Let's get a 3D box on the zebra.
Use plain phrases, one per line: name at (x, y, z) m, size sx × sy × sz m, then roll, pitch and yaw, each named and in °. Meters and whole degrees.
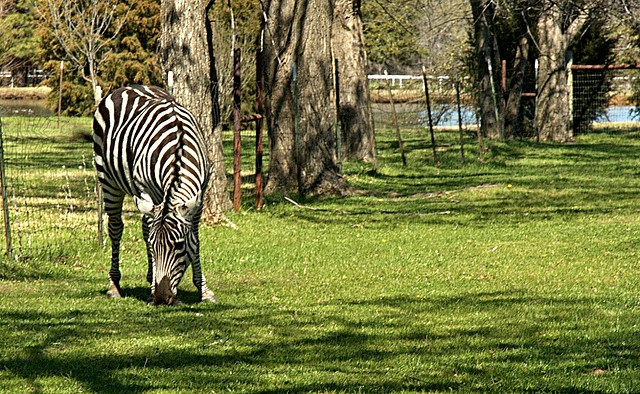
zebra at (-5.426, -0.146, 39.830) m, size 3.534 × 6.980 × 1.942 m, roll 3°, pitch 5°, yaw 40°
